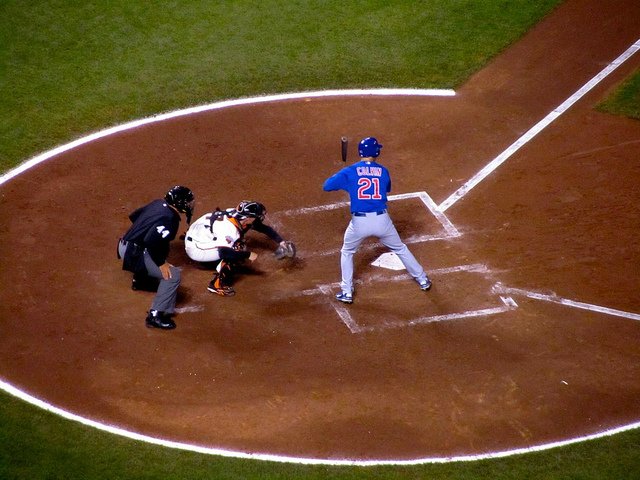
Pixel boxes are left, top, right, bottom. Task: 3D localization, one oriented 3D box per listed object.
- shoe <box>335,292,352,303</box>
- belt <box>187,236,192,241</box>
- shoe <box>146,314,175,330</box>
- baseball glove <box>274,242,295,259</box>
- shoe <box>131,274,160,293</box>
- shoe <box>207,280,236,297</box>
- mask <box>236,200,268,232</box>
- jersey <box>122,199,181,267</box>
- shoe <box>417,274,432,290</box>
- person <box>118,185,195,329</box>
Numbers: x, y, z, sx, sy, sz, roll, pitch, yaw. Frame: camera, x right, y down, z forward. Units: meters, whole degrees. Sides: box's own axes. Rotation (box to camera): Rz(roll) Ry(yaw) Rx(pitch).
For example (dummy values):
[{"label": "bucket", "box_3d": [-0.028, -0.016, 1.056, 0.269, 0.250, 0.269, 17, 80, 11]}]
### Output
[{"label": "shoe", "box_3d": [0.369, 0.872, 10.620, 0.272, 0.118, 0.101, 16, 20, 23]}, {"label": "belt", "box_3d": [-2.039, -0.023, 10.795, 0.076, 0.066, 0.020, -3, -9, 20]}, {"label": "shoe", "box_3d": [-2.322, 1.214, 10.243, 0.447, 0.175, 0.190, 3, 31, -1]}, {"label": "baseball glove", "box_3d": [-0.551, 0.168, 11.149, 0.372, 0.175, 0.181, -10, 1, 36]}, {"label": "shoe", "box_3d": [-2.724, 0.678, 10.774, 0.398, 0.240, 0.419, 10, -8, 6]}, {"label": "shoe", "box_3d": [-1.483, 0.767, 10.766, 0.491, 0.202, 0.158, 13, 29, 7]}, {"label": "mask", "box_3d": [-1.060, -0.428, 10.880, 0.504, 0.429, 0.396, -8, 37, -14]}, {"label": "jersey", "box_3d": [-2.456, -0.192, 10.437, 0.694, 0.855, 1.108, 12, 24, -34]}, {"label": "shoe", "box_3d": [1.634, 0.663, 10.844, 0.261, 0.188, 0.297, -41, -10, -2]}, {"label": "person", "box_3d": [-2.468, 0.356, 10.512, 1.024, 1.977, 1.420, 4, 36, -38]}]
